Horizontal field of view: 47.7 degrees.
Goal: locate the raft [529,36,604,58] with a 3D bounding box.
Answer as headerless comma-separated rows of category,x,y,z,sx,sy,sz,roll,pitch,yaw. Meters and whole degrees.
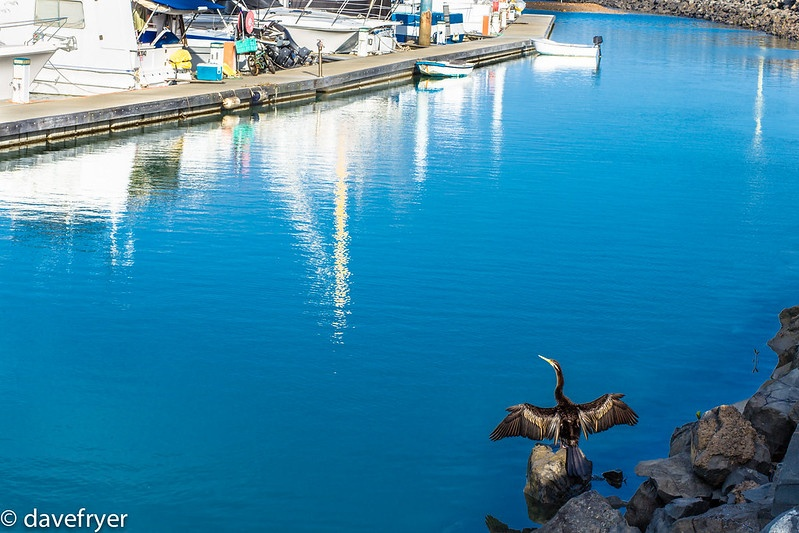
raft,10.461,-13.882,57.142,1.911,1.280,7.107,-5,16,-16
